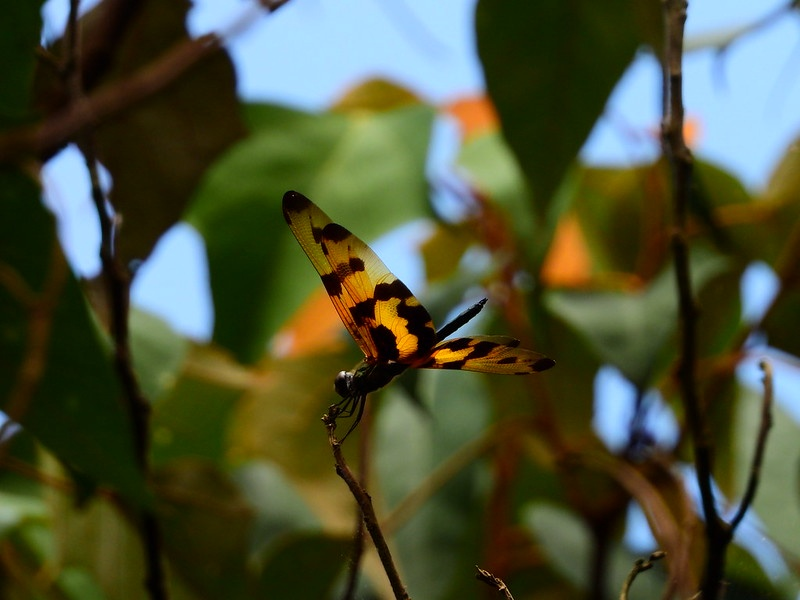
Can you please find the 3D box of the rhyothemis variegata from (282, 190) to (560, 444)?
[{"bbox_3d":[0.003,0.026,0.702,0.103,0.119,0.209,-5,-16,32],"label":"rhyothemis variegata"}]
